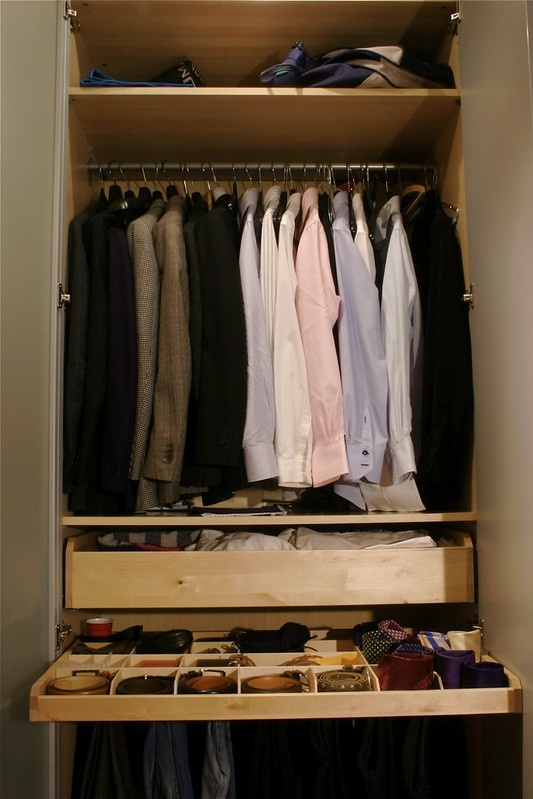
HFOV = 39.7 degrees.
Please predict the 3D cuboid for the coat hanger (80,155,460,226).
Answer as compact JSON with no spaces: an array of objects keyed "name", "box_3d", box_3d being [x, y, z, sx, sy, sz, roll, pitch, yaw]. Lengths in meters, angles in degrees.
[{"name":"coat hanger","box_3d":[-0.038,-0.655,2.194,0.753,0.181,0.315,0,-8,-2]}]
